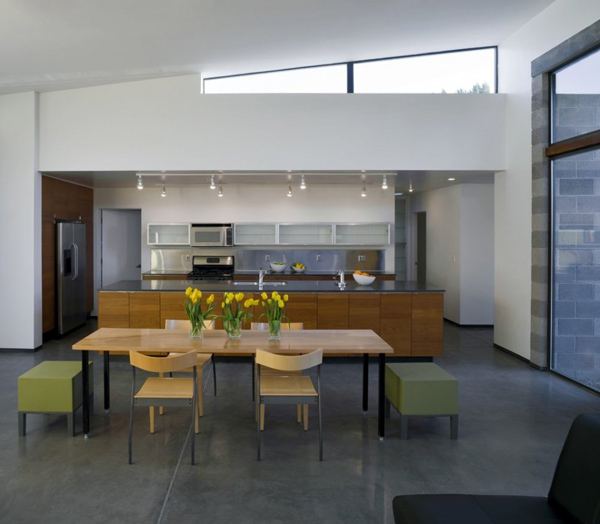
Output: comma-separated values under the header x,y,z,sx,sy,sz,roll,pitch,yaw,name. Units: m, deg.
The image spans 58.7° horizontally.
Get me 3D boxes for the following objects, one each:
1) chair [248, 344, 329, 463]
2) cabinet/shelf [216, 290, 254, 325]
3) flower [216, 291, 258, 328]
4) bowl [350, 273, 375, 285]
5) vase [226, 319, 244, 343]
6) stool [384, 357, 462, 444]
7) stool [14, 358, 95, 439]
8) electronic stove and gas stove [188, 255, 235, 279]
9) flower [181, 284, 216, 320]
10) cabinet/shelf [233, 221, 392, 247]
x,y,z,sx,sy,sz,roll,pitch,yaw,name
-0.136,1.088,4.591,0.654,1.187,0.802,0,5,-5,chair
-0.682,0.466,5.634,0.382,0.485,0.440,-3,-4,37,cabinet/shelf
-0.660,0.485,5.678,0.399,0.526,0.483,-1,-3,24,flower
0.867,0.223,7.254,0.267,0.164,0.313,1,7,10,bowl
-0.583,0.628,4.829,0.159,0.217,0.151,1,-4,-21,vase
1.076,1.369,4.778,0.434,0.474,0.922,1,-1,1,stool
-2.202,1.205,4.813,0.549,0.564,0.513,0,6,-2,stool
-1.533,0.068,9.339,0.773,0.372,0.429,0,6,-7,electronic stove and gas stove
-1.112,0.442,5.812,0.390,0.486,0.450,1,-4,-10,flower
0.222,-0.483,9.408,2.774,0.423,0.203,0,6,-3,cabinet/shelf
